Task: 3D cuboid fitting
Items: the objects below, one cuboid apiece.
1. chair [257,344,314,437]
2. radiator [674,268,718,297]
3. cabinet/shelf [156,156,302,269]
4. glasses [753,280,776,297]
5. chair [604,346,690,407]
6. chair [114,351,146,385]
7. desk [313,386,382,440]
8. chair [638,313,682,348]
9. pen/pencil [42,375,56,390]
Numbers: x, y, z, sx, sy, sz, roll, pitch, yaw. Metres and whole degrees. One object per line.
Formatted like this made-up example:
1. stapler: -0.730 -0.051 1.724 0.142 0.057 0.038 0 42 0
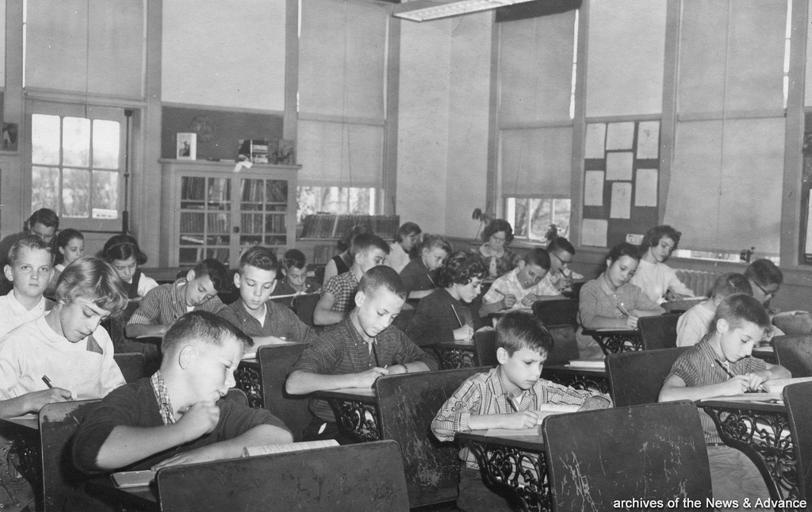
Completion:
1. chair: -0.617 0.709 3.625 0.257 0.499 0.122 -6 11 -30
2. radiator: 2.940 0.255 7.150 0.335 0.086 0.320 0 17 -15
3. cabinet/shelf: -2.081 -0.494 7.948 1.475 1.323 0.465 0 1 -33
4. glasses: 2.705 0.260 5.317 0.168 0.118 0.134 17 -11 -34
5. chair: 1.194 0.598 3.666 0.467 0.307 0.361 -1 -4 -15
6. chair: -1.349 0.538 3.446 0.105 0.127 0.158 1 9 10
7. desk: -0.257 0.720 3.259 0.304 0.198 0.288 4 -7 -44
8. chair: 1.693 0.497 4.723 0.249 0.192 0.235 -1 0 15
9. pen/pencil: -1.619 0.571 3.199 0.029 0.025 0.103 -17 -27 -17
